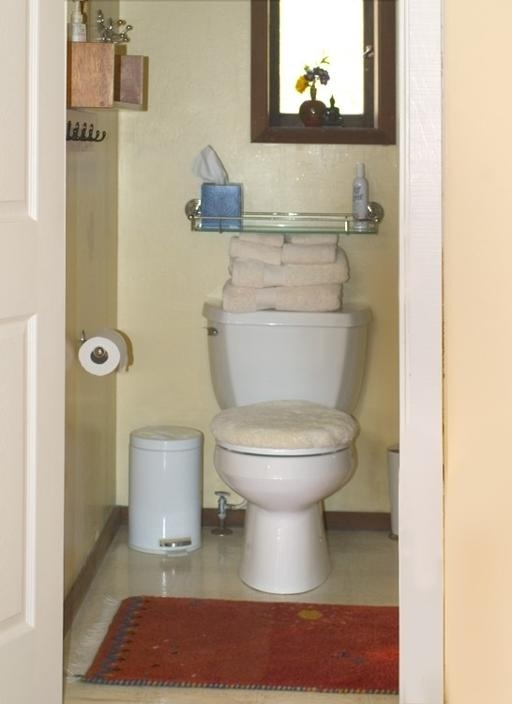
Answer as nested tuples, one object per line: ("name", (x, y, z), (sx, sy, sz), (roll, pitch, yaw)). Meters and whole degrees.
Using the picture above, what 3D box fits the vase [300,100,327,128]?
("vase", (0.173, -0.764, 2.388), (0.088, 0.079, 0.083), (-6, 22, -7))

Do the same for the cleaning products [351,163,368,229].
("cleaning products", (0.324, -0.482, 2.290), (0.051, 0.195, 0.038), (0, 5, -10))

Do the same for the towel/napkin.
("towel/napkin", (0.096, -0.231, 2.262), (0.279, 0.114, 0.262), (1, 27, 1))

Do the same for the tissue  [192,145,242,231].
("tissue ", (-0.117, -0.499, 2.332), (0.150, 0.244, 0.105), (4, 13, 0))

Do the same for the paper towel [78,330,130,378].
("paper towel", (-0.427, 0.001, 2.068), (0.126, 0.123, 0.142), (0, 5, -9))

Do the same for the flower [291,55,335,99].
("flower", (0.183, -0.878, 2.393), (0.120, 0.135, 0.035), (0, 16, 0))
